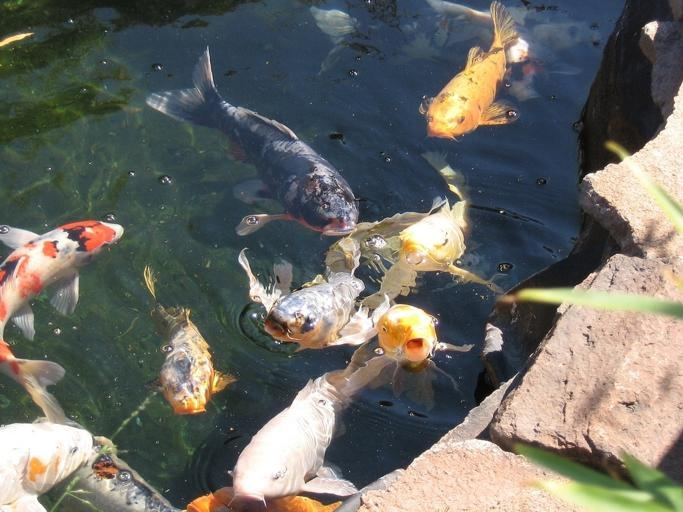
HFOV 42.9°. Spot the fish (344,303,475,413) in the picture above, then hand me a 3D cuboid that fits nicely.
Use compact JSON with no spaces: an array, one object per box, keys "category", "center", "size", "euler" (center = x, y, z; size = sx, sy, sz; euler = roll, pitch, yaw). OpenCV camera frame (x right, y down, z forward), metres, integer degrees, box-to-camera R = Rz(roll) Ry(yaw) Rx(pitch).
[{"category":"fish","center":[0.534,0.798,7.294],"size":[0.638,0.902,0.459],"euler":[-4,90,-11]}]

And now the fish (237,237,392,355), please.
[{"category":"fish","center":[-0.213,0.392,7.289],"size":[0.936,0.521,1.107],"euler":[19,27,11]}]

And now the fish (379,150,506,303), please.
[{"category":"fish","center":[0.880,-0.285,7.788],"size":[0.793,0.435,1.215],"euler":[19,33,10]}]

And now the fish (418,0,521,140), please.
[{"category":"fish","center":[1.411,-1.733,8.801],"size":[0.726,0.625,1.451],"euler":[25,66,19]}]

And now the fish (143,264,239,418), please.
[{"category":"fish","center":[-1.337,0.769,7.391],"size":[0.481,0.460,1.072],"euler":[0,43,-37]}]
